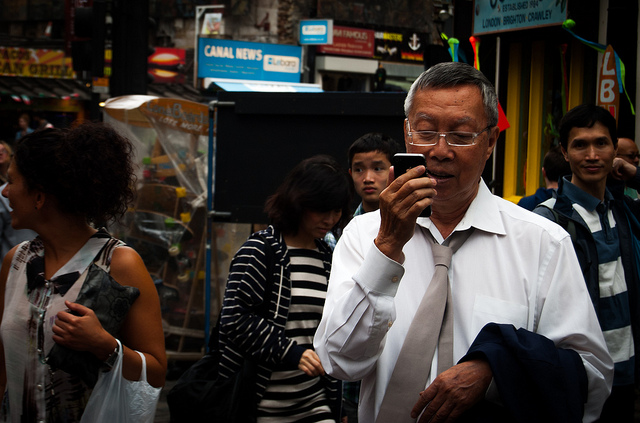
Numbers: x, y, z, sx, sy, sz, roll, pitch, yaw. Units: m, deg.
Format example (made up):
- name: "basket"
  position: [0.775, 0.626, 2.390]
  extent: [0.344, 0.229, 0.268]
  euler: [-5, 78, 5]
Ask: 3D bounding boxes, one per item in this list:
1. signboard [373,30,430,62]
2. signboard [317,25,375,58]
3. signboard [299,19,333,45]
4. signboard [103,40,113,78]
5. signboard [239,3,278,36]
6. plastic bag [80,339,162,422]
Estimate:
- name: "signboard"
  position: [2.655, -5.541, 22.735]
  extent: [2.437, 1.098, 0.211]
  euler: [4, -1, -39]
- name: "signboard"
  position: [0.819, -5.392, 21.448]
  extent: [1.953, 0.899, 0.259]
  euler: [-4, 20, -35]
- name: "signboard"
  position: [-0.058, -3.982, 15.204]
  extent: [0.760, 0.579, 0.441]
  euler: [2, 9, 15]
- name: "signboard"
  position: [-3.182, -2.294, 10.198]
  extent: [0.109, 0.591, 0.318]
  euler: [3, 0, -23]
- name: "signboard"
  position: [-1.845, -5.813, 20.472]
  extent: [0.822, 0.827, 0.084]
  euler: [7, 21, 17]
- name: "plastic bag"
  position: [-1.193, 1.023, 4.104]
  extent: [0.454, 0.512, 0.103]
  euler: [4, 0, -21]
